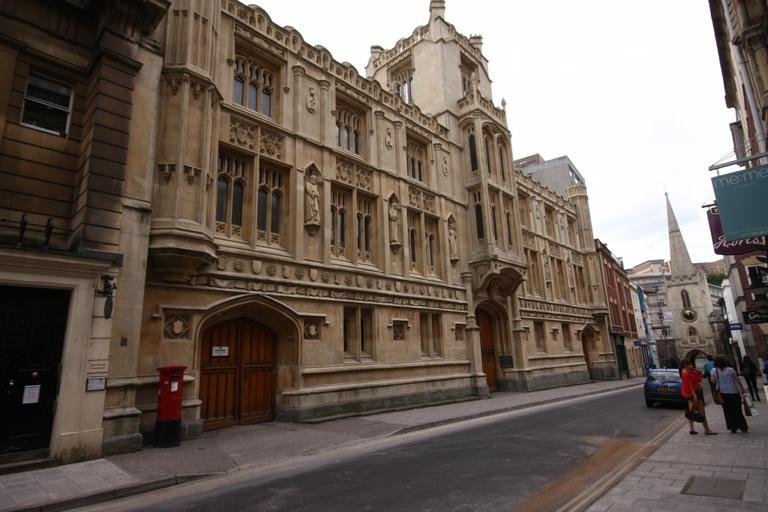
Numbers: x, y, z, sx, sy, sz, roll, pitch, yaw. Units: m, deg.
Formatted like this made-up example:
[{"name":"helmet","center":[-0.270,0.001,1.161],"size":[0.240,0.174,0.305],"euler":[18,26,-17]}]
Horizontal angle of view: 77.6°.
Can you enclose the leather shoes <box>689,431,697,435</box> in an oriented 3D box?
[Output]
[{"name":"leather shoes","center":[9.977,5.714,15.443],"size":[0.273,0.109,0.099],"euler":[4,-8,-29]}]

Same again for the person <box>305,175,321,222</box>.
[{"name":"person","center":[-3.161,-2.471,21.028],"size":[0.819,2.367,0.328],"euler":[9,-18,-39]}]

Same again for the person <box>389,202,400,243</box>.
[{"name":"person","center":[0.524,-1.686,24.514],"size":[0.297,2.357,0.850],"euler":[-12,-17,35]}]

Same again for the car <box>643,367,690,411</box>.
[{"name":"car","center":[12.581,5.925,21.501],"size":[1.237,1.046,2.190],"euler":[-4,-6,32]}]

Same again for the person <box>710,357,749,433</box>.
[{"name":"person","center":[11.214,4.513,15.566],"size":[0.776,2.431,0.898],"euler":[-13,-17,35]}]
